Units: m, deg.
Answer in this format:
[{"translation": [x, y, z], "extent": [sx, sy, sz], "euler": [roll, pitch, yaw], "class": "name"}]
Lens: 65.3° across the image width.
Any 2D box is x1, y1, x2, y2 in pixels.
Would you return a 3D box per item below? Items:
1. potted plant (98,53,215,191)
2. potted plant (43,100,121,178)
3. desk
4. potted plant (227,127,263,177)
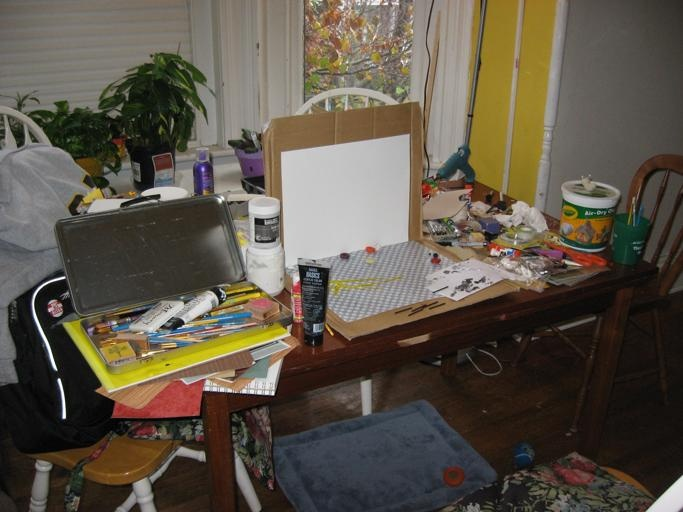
[{"translation": [-0.823, -0.612, 2.429], "extent": [0.655, 0.600, 0.550], "euler": [-5, 25, -25], "class": "potted plant"}, {"translation": [-1.057, -0.532, 2.298], "extent": [0.343, 0.230, 0.335], "euler": [17, 25, 9], "class": "potted plant"}, {"translation": [0.161, 0.129, 1.662], "extent": [1.250, 0.676, 0.912], "euler": [-16, 34, -22], "class": "desk"}, {"translation": [-0.386, -0.472, 2.428], "extent": [0.246, 0.216, 0.239], "euler": [0, 14, 3], "class": "potted plant"}]
